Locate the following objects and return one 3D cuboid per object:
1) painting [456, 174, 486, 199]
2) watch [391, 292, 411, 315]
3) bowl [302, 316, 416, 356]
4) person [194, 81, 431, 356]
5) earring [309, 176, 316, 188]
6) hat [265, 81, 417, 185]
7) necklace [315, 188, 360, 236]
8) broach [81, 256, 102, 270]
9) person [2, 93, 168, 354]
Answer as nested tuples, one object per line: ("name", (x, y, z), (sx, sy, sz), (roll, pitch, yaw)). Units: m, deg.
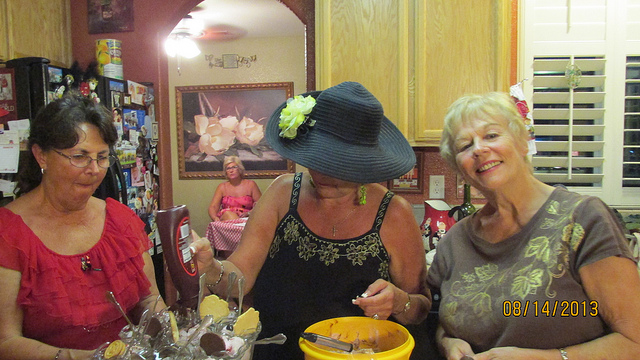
("painting", (0.983, 0.043, 3.154), (0.243, 0.193, 0.023), (2, 8, 6))
("watch", (0.427, 0.667, 2.619), (0.029, 0.094, 0.107), (32, 46, 29))
("bowl", (0.194, 0.744, 2.308), (0.302, 0.094, 0.271), (-4, -5, 23))
("person", (0.033, 0.233, 2.676), (1.164, 1.513, 0.680), (2, 11, 11))
("earring", (-0.050, 0.014, 2.779), (0.013, 0.050, 0.051), (-38, 42, -7))
("hat", (0.128, -0.233, 2.589), (0.698, 0.254, 0.670), (29, 36, 14))
("necklace", (0.104, 0.182, 2.702), (0.176, 0.252, 0.009), (6, -5, 10))
("broach", (-1.262, 0.450, 2.632), (0.063, 0.072, 0.023), (-4, 12, -22))
("person", (-1.288, 0.228, 2.579), (0.756, 1.337, 0.548), (-4, 12, -18))
